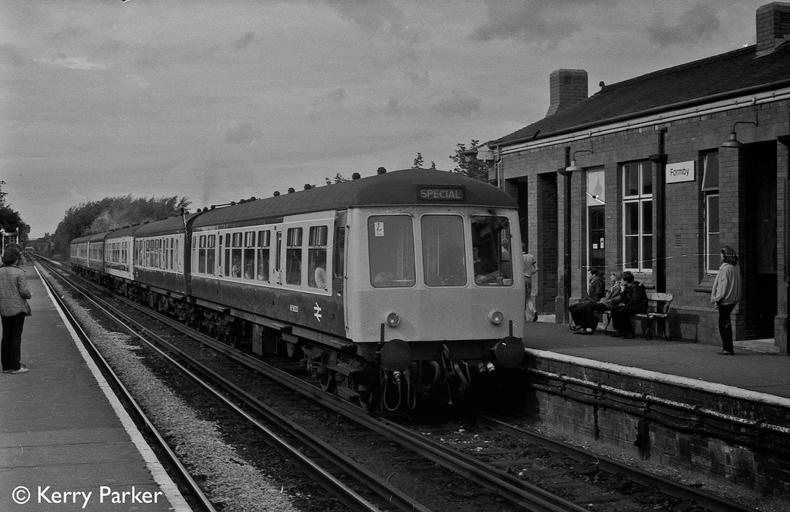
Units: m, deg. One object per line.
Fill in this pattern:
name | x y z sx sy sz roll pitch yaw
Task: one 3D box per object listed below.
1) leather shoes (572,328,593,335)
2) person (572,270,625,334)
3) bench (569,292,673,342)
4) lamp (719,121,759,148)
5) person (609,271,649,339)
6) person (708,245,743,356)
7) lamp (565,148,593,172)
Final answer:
leather shoes | 4.341 1.755 15.547 0.514 0.211 0.157 11 -10 -26
person | 4.777 1.372 16.304 1.009 0.775 1.739 19 2 -8
bench | 5.239 1.255 15.655 0.750 0.913 2.354 -3 4 -33
lamp | 7.032 -2.510 13.759 0.710 0.552 0.408 2 0 -5
person | 5.275 1.061 15.135 0.896 1.501 0.787 -11 12 -13
person | 6.227 0.829 12.495 0.489 2.086 0.307 -1 0 -14
lamp | 4.744 -2.487 17.449 0.375 0.647 0.837 -1 0 -30
